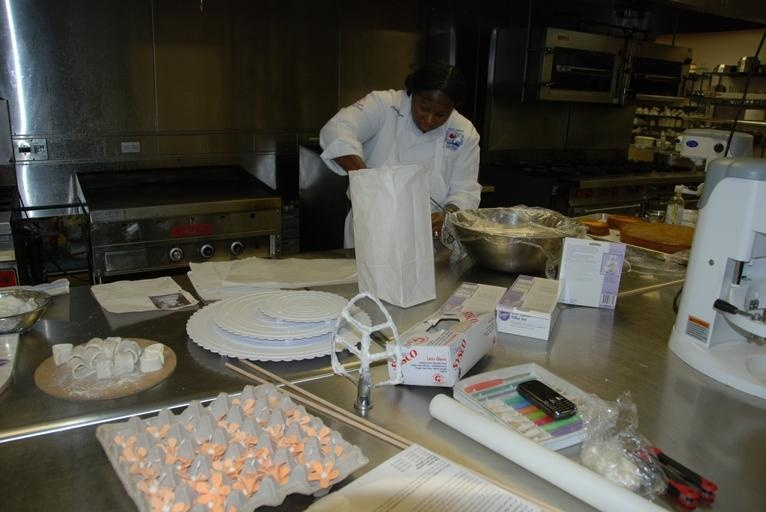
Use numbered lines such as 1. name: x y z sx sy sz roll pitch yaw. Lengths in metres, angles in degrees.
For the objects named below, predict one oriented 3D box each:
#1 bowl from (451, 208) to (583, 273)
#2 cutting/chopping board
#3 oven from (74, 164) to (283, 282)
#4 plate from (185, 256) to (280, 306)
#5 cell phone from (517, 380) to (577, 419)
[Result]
1. bowl: 0.455 -0.056 1.792 0.426 0.198 0.378 8 20 31
2. cutting/chopping board: -0.619 0.242 1.155 0.299 0.079 0.167 -6 17 -11
3. oven: -1.168 -0.083 3.052 0.996 0.525 0.773 -9 13 -35
4. plate: -0.470 0.070 1.592 0.230 0.052 0.299 -9 18 -21
5. cell phone: 0.339 0.287 1.082 0.051 0.022 0.095 -6 17 -31
